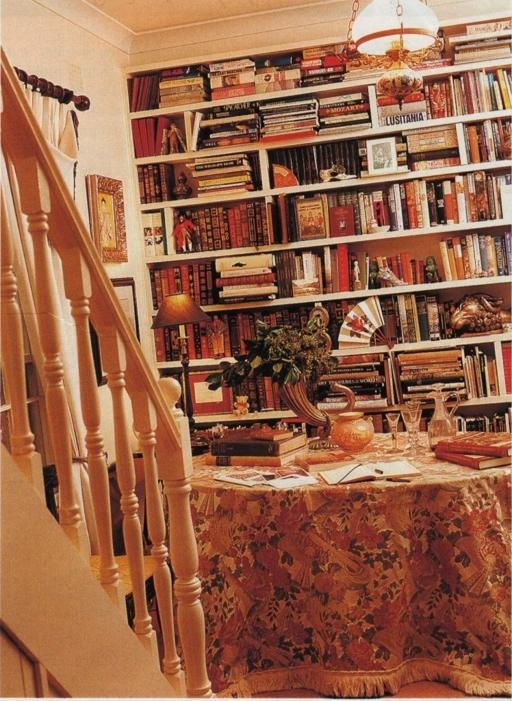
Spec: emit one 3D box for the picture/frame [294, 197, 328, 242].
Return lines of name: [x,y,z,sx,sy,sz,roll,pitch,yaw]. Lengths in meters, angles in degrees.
picture/frame: [0.303,-0.726,3.637,0.234,0.290,0.049,-5,2,11]

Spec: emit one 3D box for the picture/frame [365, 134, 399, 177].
picture/frame: [0.665,-1.024,3.513,0.233,0.258,0.019,-5,-2,9]

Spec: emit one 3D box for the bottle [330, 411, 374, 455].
bottle: [0.338,0.296,2.355,0.157,0.118,0.137,-1,-8,-7]

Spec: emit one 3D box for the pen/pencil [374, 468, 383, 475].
pen/pencil: [0.382,0.377,2.064,0.010,0.013,0.045,21,4,-4]

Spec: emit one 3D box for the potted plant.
potted plant: [0.110,0.099,2.426,0.563,0.545,0.396,-2,5,-1]
